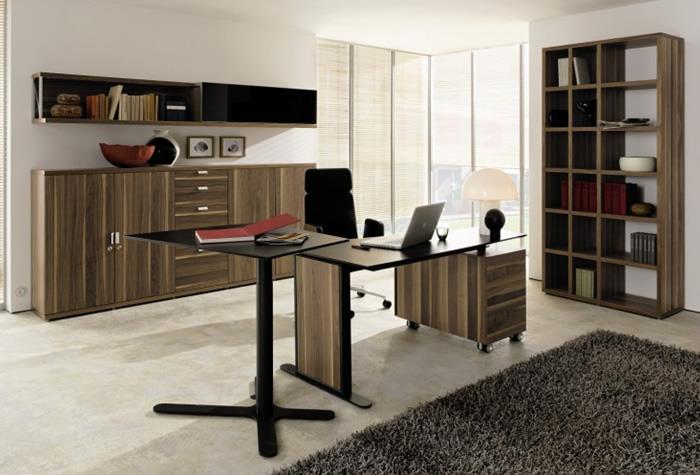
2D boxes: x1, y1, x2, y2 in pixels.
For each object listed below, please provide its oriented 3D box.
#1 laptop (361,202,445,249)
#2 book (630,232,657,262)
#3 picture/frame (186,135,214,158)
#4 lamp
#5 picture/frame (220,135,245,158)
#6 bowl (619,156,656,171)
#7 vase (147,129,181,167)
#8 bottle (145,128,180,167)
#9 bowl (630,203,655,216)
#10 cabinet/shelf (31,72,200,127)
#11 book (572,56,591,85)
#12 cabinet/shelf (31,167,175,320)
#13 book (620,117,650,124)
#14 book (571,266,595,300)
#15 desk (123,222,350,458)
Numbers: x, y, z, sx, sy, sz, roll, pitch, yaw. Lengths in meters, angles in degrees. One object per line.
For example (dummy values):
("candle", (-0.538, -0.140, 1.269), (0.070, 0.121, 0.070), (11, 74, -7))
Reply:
("laptop", (0.435, -0.064, 4.444), (0.509, 0.285, 0.517), (2, 7, 31))
("book", (3.146, 0.106, 5.699), (0.310, 0.306, 0.181), (14, 21, 43))
("picture/frame", (-1.891, -1.141, 6.671), (0.333, 0.244, 0.027), (-4, 9, -40))
("lamp", (1.380, -0.431, 5.450), (0.669, 0.702, 0.657), (5, 9, 36))
("picture/frame", (-1.547, -1.194, 6.929), (0.352, 0.254, 0.037), (-3, 5, -39))
("bowl", (3.063, -0.780, 5.694), (0.239, 0.085, 0.233), (-1, 6, 0))
("vase", (-2.167, -1.025, 6.201), (0.444, 0.418, 0.424), (0, -1, 12))
("bottle", (-2.154, -1.039, 6.198), (0.449, 0.377, 0.429), (0, 0, 4))
("bowl", (3.115, -0.294, 5.682), (0.178, 0.078, 0.164), (0, 4, 0))
("cabinet/shelf", (-2.593, -1.560, 6.009), (1.734, 0.543, 0.441), (-10, 18, -32))
("book", (2.588, -1.867, 5.976), (0.079, 0.265, 0.337), (0, -2, 39))
("cabinet/shelf", (-2.718, 0.048, 5.704), (1.717, 1.679, 0.610), (-5, 8, -41))
("book", (3.100, -1.269, 5.775), (0.222, 0.062, 0.359), (9, 17, 33))
("book", (2.664, 0.482, 6.124), (0.307, 0.353, 0.407), (2, 5, 30))
("desk", (-0.771, 0.588, 4.368), (1.624, 1.339, 1.601), (4, 6, 40))
